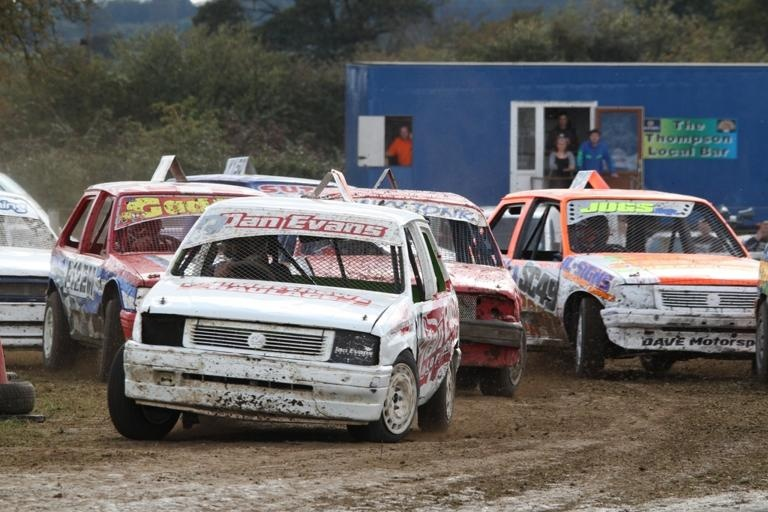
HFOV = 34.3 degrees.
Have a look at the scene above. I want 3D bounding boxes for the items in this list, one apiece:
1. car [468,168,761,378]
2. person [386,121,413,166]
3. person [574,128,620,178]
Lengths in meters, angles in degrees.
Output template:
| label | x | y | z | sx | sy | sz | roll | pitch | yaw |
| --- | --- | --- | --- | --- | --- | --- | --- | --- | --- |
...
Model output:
| label | x | y | z | sx | sy | sz | roll | pitch | yaw |
| --- | --- | --- | --- | --- | --- | --- | --- | --- | --- |
| car | 2.887 | 0.182 | 15.807 | 2.033 | 1.300 | 3.164 | 1 | -2 | -16 |
| person | 0.326 | -2.386 | 26.998 | 0.677 | 0.894 | 0.195 | 5 | 8 | 34 |
| person | 4.171 | -1.762 | 25.006 | 0.819 | 1.458 | 0.573 | -5 | 26 | -9 |
